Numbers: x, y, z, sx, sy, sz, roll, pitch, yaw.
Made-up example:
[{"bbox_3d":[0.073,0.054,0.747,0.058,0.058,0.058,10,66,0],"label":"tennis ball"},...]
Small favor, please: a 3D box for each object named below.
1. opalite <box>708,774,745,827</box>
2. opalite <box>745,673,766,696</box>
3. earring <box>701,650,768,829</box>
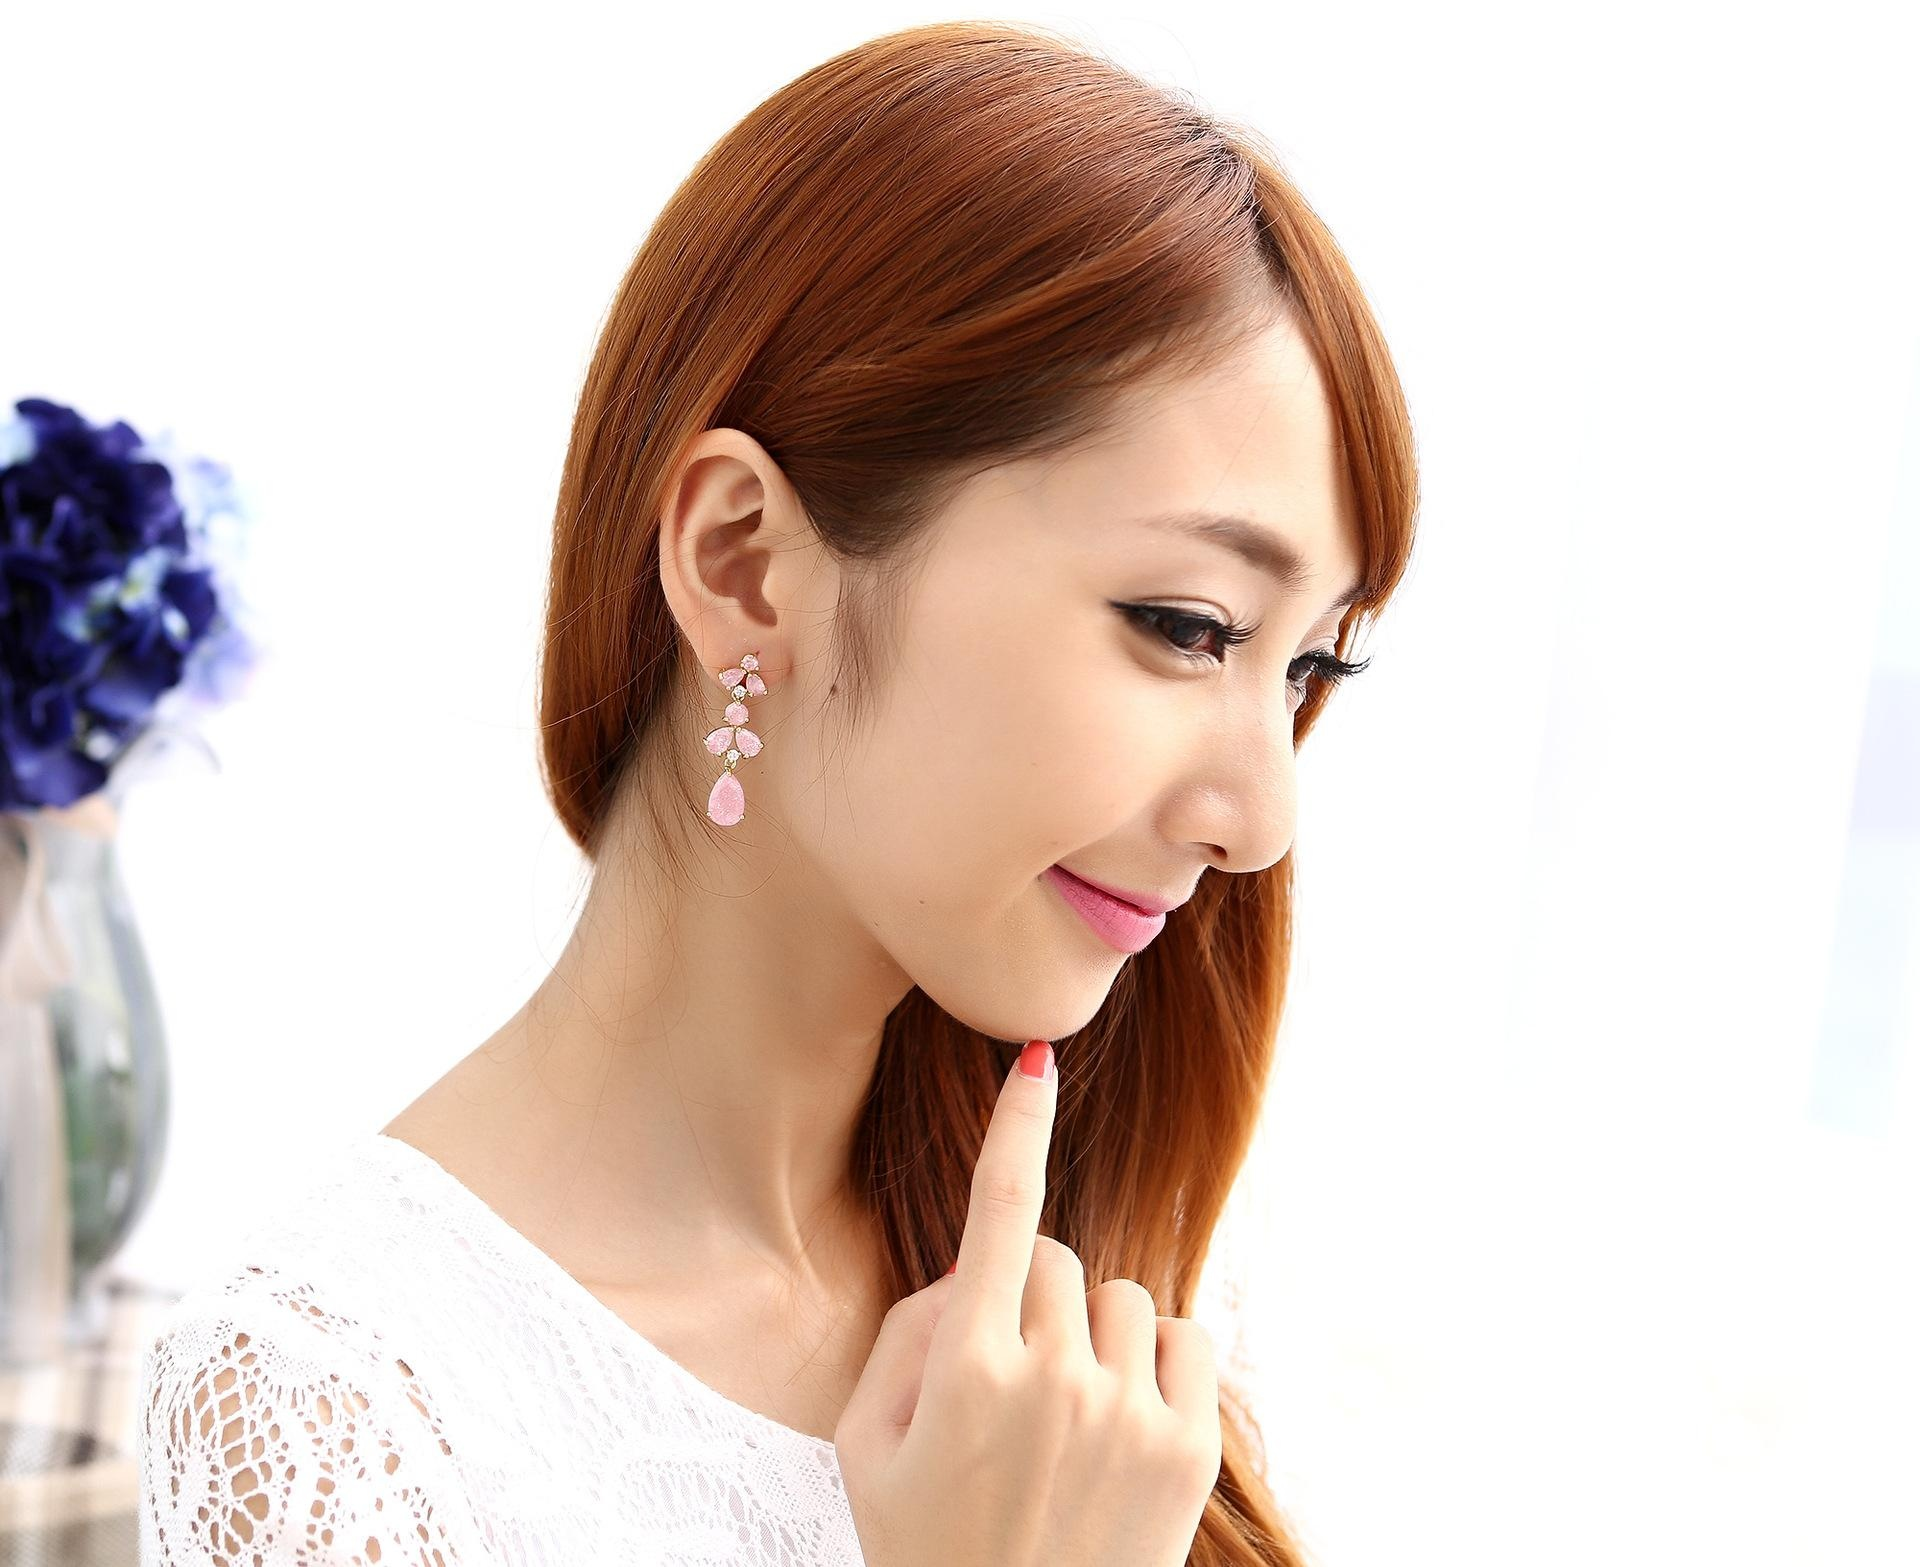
[{"bbox_3d":[-0.165,0.013,1.364,0.027,0.035,0.009,5,10,10],"label":"opalite"},{"bbox_3d":[-0.145,-0.068,1.351,0.012,0.016,0.004,-25,18,-14],"label":"opalite"},{"bbox_3d":[-0.158,-0.029,1.361,0.050,0.114,0.027,11,10,18],"label":"earring"}]
